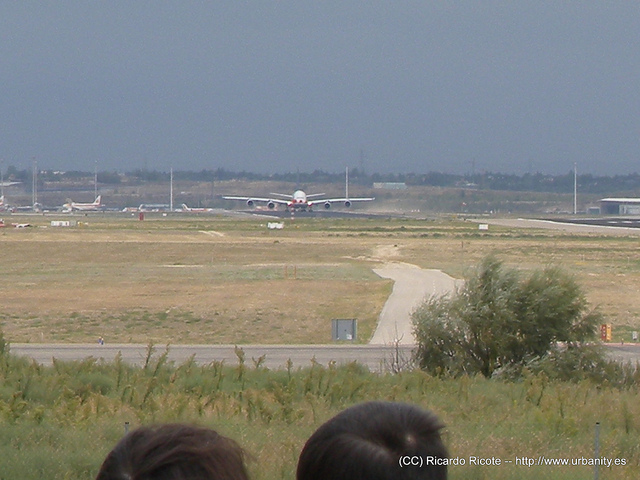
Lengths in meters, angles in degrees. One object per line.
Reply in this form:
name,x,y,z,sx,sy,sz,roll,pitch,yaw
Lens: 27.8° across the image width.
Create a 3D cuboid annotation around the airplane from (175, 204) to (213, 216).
airplane,-27.799,-6.899,285.859,4.742,1.417,4.681,-1,11,42
